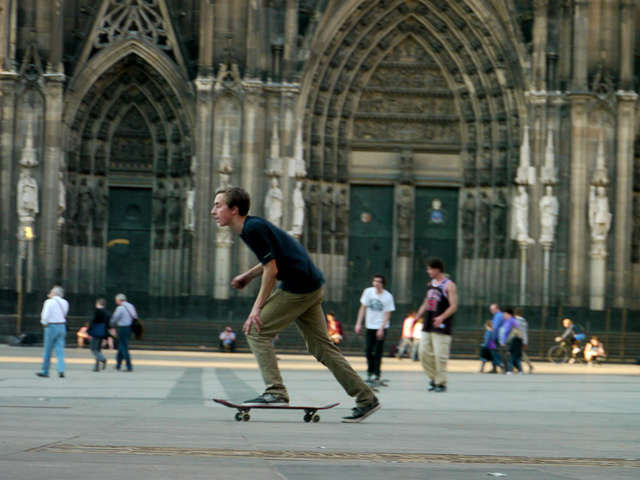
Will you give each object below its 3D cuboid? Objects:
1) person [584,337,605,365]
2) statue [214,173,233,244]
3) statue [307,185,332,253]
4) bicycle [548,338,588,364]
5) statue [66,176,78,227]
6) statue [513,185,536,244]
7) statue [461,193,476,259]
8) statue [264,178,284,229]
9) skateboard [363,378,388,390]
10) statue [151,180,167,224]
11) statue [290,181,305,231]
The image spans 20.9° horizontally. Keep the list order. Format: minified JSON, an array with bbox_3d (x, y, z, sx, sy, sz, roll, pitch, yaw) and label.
[{"bbox_3d":[8.585,3.395,54.397,0.496,0.830,0.964,-3,-4,25],"label":"person"},{"bbox_3d":[-3.261,-1.117,56.398,0.564,2.298,1.679,-1,-3,-3],"label":"statue"},{"bbox_3d":[-0.142,-0.747,58.446,0.476,2.126,0.437,-6,1,-31],"label":"statue"},{"bbox_3d":[7.903,3.445,55.103,1.210,0.778,1.236,2,-4,-36],"label":"bicycle"},{"bbox_3d":[-8.499,-1.346,58.246,0.148,1.693,0.461,-4,-4,30],"label":"statue"},{"bbox_3d":[6.850,-0.904,57.912,0.702,1.955,0.269,-2,-4,16],"label":"statue"},{"bbox_3d":[5.074,-0.541,59.419,0.271,2.251,0.546,2,-5,-44],"label":"statue"},{"bbox_3d":[-1.596,-1.300,57.299,0.670,1.561,0.396,-1,-4,-8],"label":"statue"},{"bbox_3d":[1.400,3.708,45.631,0.579,0.169,0.381,-2,-4,8],"label":"skateboard"},{"bbox_3d":[-5.611,-1.347,58.947,0.630,1.478,0.214,-4,-4,37],"label":"statue"},{"bbox_3d":[-0.795,-1.179,57.658,0.508,1.633,0.285,2,-5,-41],"label":"statue"}]
